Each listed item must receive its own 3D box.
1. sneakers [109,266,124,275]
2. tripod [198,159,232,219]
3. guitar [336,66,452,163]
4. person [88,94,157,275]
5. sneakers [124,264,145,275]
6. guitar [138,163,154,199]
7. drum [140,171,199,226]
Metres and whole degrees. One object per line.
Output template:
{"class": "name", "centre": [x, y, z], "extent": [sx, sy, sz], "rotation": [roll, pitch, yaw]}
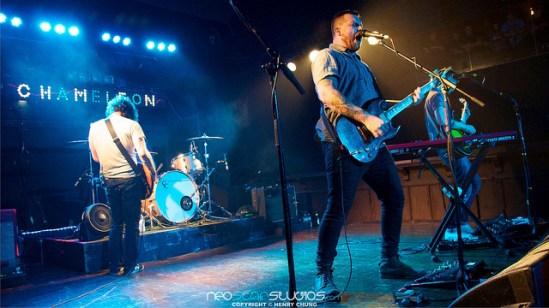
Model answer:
{"class": "sneakers", "centre": [-3.013, 2.241, 7.257], "extent": [0.247, 0.106, 0.175], "rotation": [-4, -7, 24]}
{"class": "tripod", "centre": [-1.817, 0.847, 9.994], "extent": [0.953, 1.208, 0.960], "rotation": [4, 8, 39]}
{"class": "guitar", "centre": [1.672, -0.483, 5.337], "extent": [0.335, 0.715, 1.951], "rotation": [-13, -14, -30]}
{"class": "person", "centre": [-2.855, 0.550, 7.373], "extent": [1.070, 3.392, 0.813], "rotation": [-8, 6, -24]}
{"class": "sneakers", "centre": [-2.666, 2.189, 7.248], "extent": [0.199, 0.099, 0.281], "rotation": [3, -9, -3]}
{"class": "guitar", "centre": [-2.463, 0.502, 7.294], "extent": [0.139, 0.558, 0.583], "rotation": [-13, 6, 9]}
{"class": "drum", "centre": [-2.044, 0.983, 8.965], "extent": [1.338, 1.303, 0.948], "rotation": [-10, -3, 26]}
